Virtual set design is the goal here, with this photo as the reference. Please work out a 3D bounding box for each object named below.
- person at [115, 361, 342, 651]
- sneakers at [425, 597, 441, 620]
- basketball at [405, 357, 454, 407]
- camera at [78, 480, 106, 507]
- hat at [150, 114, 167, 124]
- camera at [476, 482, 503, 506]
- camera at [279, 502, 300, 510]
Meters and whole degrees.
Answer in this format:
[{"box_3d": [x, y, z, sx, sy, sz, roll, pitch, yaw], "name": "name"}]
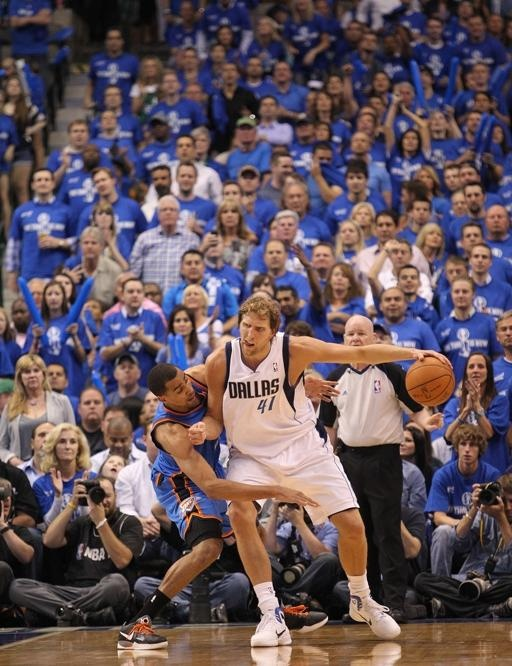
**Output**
[{"box_3d": [-0.371, 0.905, 6.815, 0.879, 1.478, 0.773, -3, 13, -8], "name": "person"}, {"box_3d": [1.159, 1.832, 8.158, 0.045, 0.116, 0.079, -4, -3, -27], "name": "sneakers"}, {"box_3d": [0.971, 0.283, 7.096, 0.270, 0.288, 0.260, -13, 13, 5], "name": "basketball"}, {"box_3d": [-1.076, 1.070, 8.121, 0.169, 0.150, 0.163, -1, -4, -5], "name": "camera"}, {"box_3d": [-1.066, -2.296, 13.442, 0.188, 0.092, 0.159, 0, 12, 8], "name": "hat"}, {"box_3d": [1.488, 1.045, 7.982, 0.144, 0.136, 0.150, -1, -8, 15], "name": "camera"}, {"box_3d": [0.213, 1.168, 8.277, 0.118, 0.034, 0.118, 3, 5, -42], "name": "camera"}]
